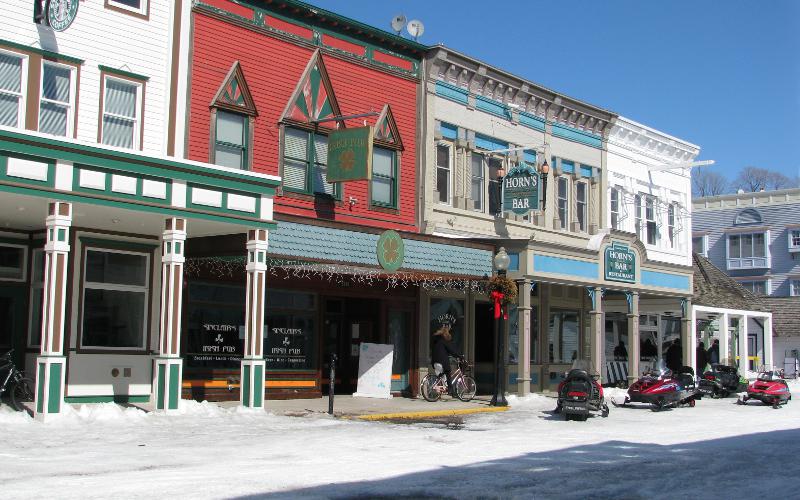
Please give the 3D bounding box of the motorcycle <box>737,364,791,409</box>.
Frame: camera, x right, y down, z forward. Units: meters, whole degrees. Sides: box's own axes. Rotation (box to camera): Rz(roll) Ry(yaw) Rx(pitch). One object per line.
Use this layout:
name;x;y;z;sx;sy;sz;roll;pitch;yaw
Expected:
motorcycle;13.414;4.944;30.457;1.280;0.885;2.148;2;0;34

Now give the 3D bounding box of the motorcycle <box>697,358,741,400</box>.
motorcycle;12.626;5.199;33.301;1.087;1.194;1.756;2;-1;34

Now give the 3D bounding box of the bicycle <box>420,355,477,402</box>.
bicycle;1.621;4.492;28.123;2.255;1.286;1.068;0;-1;-23

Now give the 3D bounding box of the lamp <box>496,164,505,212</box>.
lamp;3.649;-2.264;31.163;0.328;1.729;0.764;2;0;5
